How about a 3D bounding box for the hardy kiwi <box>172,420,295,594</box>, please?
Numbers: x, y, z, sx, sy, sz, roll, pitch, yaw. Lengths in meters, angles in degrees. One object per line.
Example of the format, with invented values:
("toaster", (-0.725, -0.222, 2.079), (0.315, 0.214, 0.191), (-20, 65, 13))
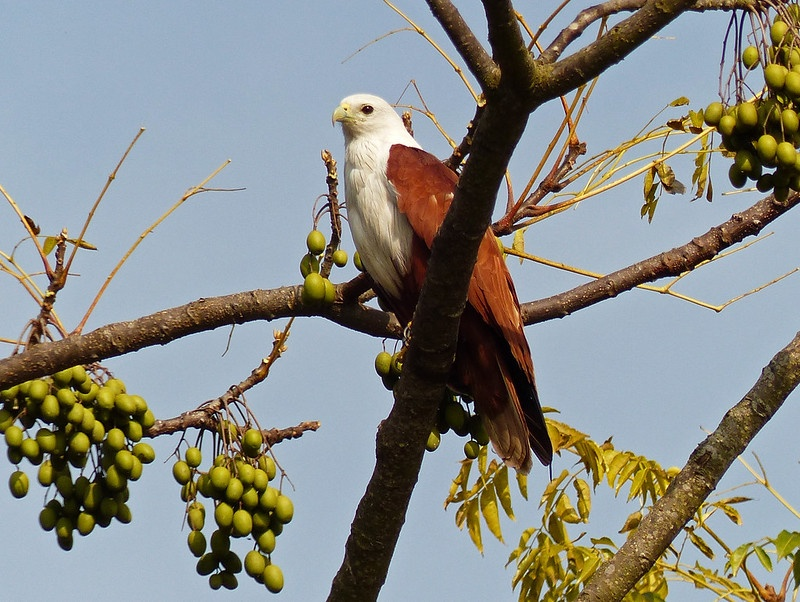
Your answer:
("hardy kiwi", (-0.742, 0.908, 6.587), (0.507, 0.608, 0.440), (-19, -54, 11))
